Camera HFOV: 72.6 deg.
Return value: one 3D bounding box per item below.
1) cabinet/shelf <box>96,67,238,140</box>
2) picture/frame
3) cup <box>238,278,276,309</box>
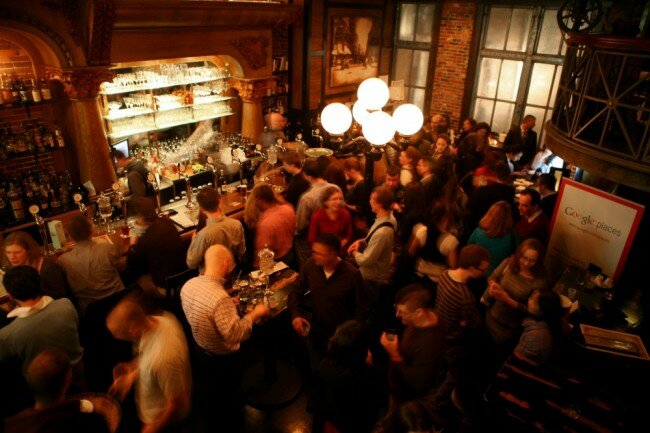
[{"bbox_3d":[-2.847,-2.189,8.455,2.555,1.092,0.430,-7,-4,8],"label":"cabinet/shelf"},{"bbox_3d":[0.586,-3.928,10.281,0.153,2.429,3.422,19,31,33],"label":"picture/frame"},{"bbox_3d":[-0.837,0.902,5.295,0.461,0.302,0.386,-6,22,-11],"label":"cup"}]
